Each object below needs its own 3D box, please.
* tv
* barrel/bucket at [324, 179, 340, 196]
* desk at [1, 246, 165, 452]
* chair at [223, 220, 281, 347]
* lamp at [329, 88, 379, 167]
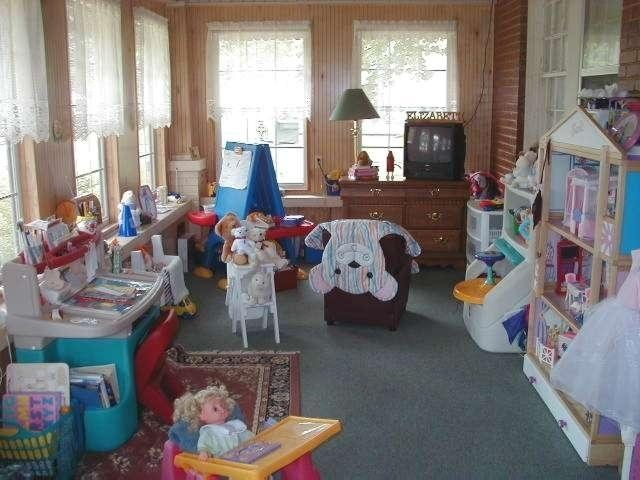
[{"bbox_3d":[1.408,-1.109,5.877,0.649,0.763,0.718,0,0,10],"label":"tv"},{"bbox_3d":[0.175,-0.710,6.458,0.186,0.207,0.202,-2,12,0],"label":"barrel/bucket"},{"bbox_3d":[-1.427,0.618,3.048,0.736,1.118,0.723,0,14,-1],"label":"desk"},{"bbox_3d":[-0.636,0.349,4.353,0.444,0.985,0.773,-4,15,-15],"label":"chair"},{"bbox_3d":[0.392,-1.496,6.158,0.581,0.903,0.601,-4,15,-14],"label":"lamp"}]
